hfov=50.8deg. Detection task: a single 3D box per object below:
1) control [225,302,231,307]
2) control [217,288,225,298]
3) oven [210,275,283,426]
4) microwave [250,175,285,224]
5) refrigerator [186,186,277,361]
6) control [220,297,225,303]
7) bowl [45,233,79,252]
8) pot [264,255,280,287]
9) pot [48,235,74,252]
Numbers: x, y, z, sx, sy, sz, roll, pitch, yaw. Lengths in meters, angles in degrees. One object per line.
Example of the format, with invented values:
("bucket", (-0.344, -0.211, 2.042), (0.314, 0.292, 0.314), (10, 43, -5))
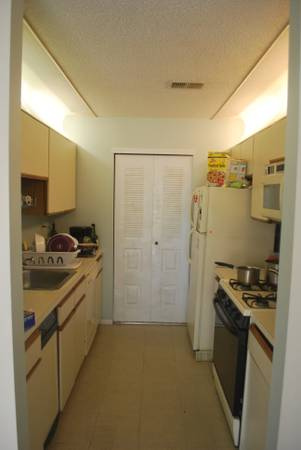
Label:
("control", (0.471, 0.480, 1.922), (0.030, 0.036, 0.022), (-7, -14, 38))
("control", (0.478, 0.459, 2.148), (0.039, 0.096, 0.050), (2, 0, 7))
("oven", (0.559, 0.784, 1.930), (0.337, 0.826, 0.684), (2, 4, 13))
("microwave", (0.687, -0.157, 1.858), (0.170, 0.301, 0.311), (1, 3, 0))
("refrigerator", (0.637, 0.350, 2.875), (0.617, 1.320, 0.757), (0, 7, -21))
("control", (0.471, 0.489, 2.062), (0.034, 0.010, 0.038), (-5, 6, 24))
("bowl", (-0.752, 0.154, 2.650), (0.271, 0.157, 0.222), (1, 4, -3))
("pot", (0.785, 0.294, 2.049), (0.078, 0.173, 0.260), (2, 4, 20))
("pot", (-0.740, 0.159, 2.569), (0.129, 0.167, 0.059), (1, -3, 4))
